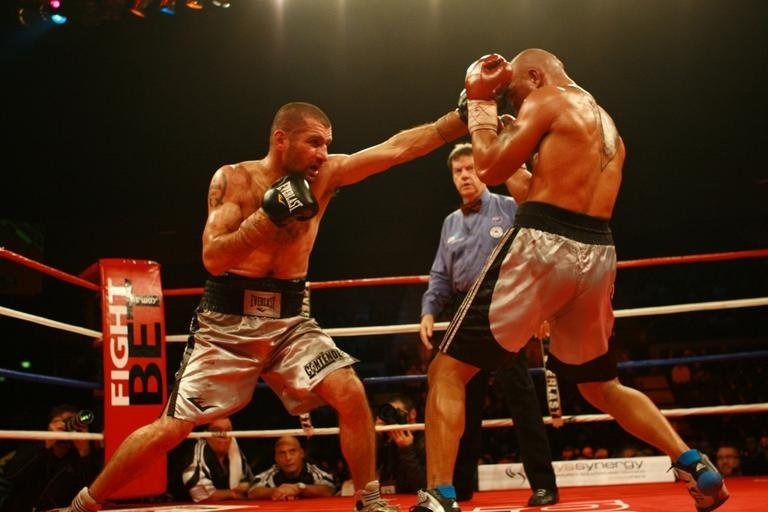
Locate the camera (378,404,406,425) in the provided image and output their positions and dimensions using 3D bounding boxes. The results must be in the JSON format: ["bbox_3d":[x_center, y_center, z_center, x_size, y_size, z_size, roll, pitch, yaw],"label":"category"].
[{"bbox_3d":[0.062,1.366,6.043,0.178,0.132,0.250,8,-7,19],"label":"camera"}]

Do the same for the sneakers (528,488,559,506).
[{"bbox_3d":[1.188,1.817,5.267,0.198,0.066,0.108,5,-7,-27],"label":"sneakers"}]

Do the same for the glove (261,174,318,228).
[{"bbox_3d":[-0.641,-0.371,4.860,0.373,0.286,0.167,-15,-8,0],"label":"glove"}]

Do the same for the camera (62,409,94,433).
[{"bbox_3d":[-2.400,1.317,5.586,0.131,0.208,0.333,-13,-7,-43],"label":"camera"}]

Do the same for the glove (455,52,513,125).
[{"bbox_3d":[0.689,-1.164,4.831,0.356,0.485,0.224,2,7,1],"label":"glove"}]
